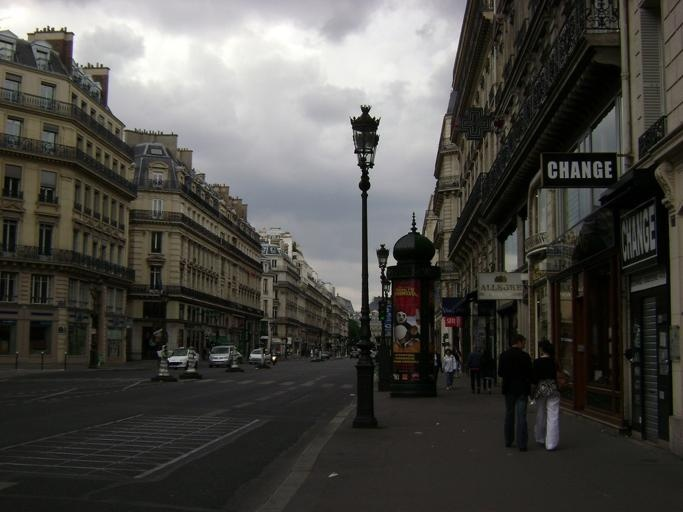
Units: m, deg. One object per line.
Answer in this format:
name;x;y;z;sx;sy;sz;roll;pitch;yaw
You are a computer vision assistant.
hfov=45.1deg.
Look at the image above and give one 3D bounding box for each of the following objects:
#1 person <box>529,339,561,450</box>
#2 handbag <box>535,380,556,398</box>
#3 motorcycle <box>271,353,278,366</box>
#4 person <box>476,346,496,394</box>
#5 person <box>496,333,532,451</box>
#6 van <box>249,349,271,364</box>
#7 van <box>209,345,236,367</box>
person;3.795;2.571;15.264;0.473;2.006;0.783;-4;-12;14
handbag;3.719;2.412;14.977;0.478;0.386;0.268;-4;2;18
motorcycle;-6.533;10.000;80.281;0.838;1.245;2.031;-2;-11;-1
person;5.107;3.980;28.921;0.471;1.580;1.568;-3;-13;9
person;3.224;2.613;15.175;0.437;1.885;0.625;8;-14;-38
van;-7.037;8.419;71.865;1.746;1.688;3.238;-1;-10;2
van;-8.622;7.110;60.294;1.550;1.604;2.701;-1;-13;3
